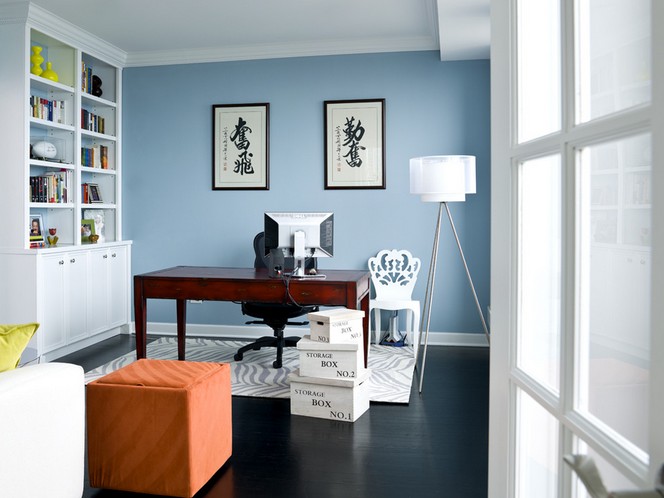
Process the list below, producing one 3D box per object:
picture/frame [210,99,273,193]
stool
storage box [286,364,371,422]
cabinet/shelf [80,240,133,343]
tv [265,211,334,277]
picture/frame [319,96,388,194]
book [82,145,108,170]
[{"bbox_3d":[-0.870,-1.050,5.085,0.827,1.291,0.045,0,5,11],"label":"picture/frame"},{"bbox_3d":[-0.824,0.841,2.491,0.561,0.509,0.500,2,5,13],"label":"stool"},{"bbox_3d":[-0.008,0.910,3.218,0.321,0.212,0.344,0,0,12],"label":"storage box"},{"bbox_3d":[-2.179,0.413,4.907,0.332,0.909,0.904,1,1,8],"label":"cabinet/shelf"},{"bbox_3d":[-0.249,-0.036,3.753,0.402,0.448,0.183,1,11,2],"label":"tv"},{"bbox_3d":[0.239,-1.020,4.905,0.817,1.278,0.047,1,1,7],"label":"picture/frame"},{"bbox_3d":[-2.300,-0.896,5.002,0.179,0.274,0.266,1,3,7],"label":"book"}]
